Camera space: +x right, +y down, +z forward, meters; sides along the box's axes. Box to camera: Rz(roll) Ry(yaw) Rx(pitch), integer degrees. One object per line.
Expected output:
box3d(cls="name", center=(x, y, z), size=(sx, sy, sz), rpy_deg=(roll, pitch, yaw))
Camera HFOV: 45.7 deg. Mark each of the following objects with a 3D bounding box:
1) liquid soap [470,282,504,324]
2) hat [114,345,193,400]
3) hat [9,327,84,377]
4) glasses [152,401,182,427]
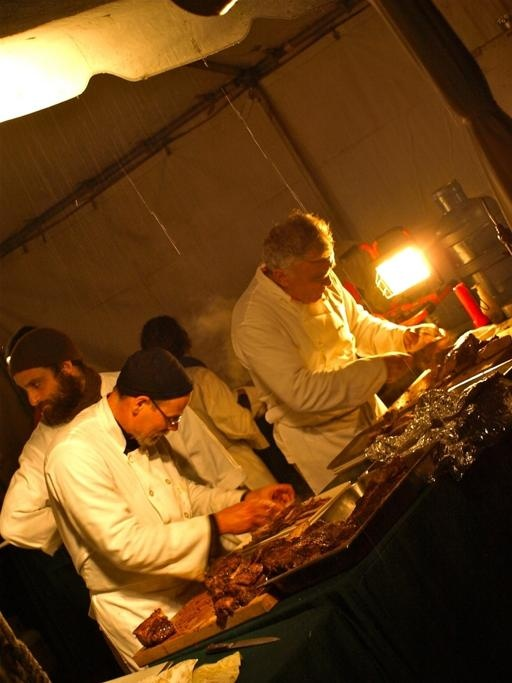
box3d(cls="liquid soap", center=(1.218, -0.211, 3.212), size=(0.093, 0.249, 0.197), rpy_deg=(-33, -3, 18))
box3d(cls="hat", center=(-0.360, 0.112, 2.102), size=(0.330, 0.172, 0.234), rpy_deg=(4, 8, 33))
box3d(cls="hat", center=(-0.930, 0.015, 2.708), size=(0.215, 0.188, 0.260), rpy_deg=(-22, -27, 7))
box3d(cls="glasses", center=(-0.306, 0.248, 2.058), size=(0.028, 0.089, 0.088), rpy_deg=(-30, -11, 4))
